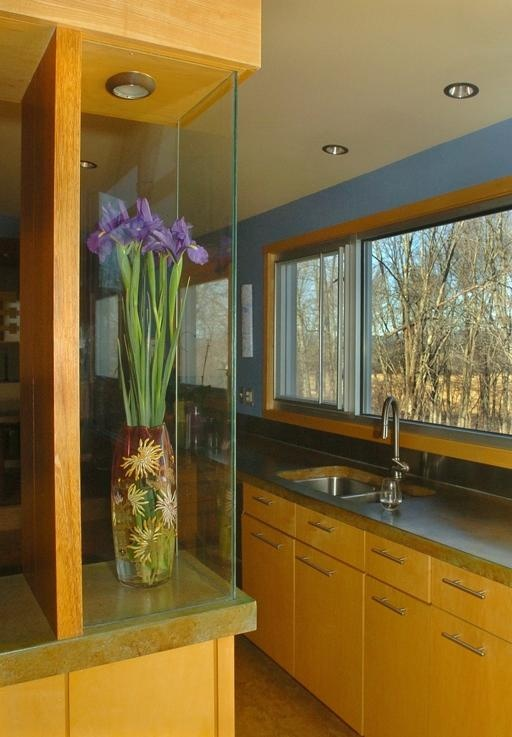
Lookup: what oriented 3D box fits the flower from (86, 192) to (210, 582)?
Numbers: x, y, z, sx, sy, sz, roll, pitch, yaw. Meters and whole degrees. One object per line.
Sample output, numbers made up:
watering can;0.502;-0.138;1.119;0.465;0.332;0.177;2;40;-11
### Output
flower;-0.189;0.040;0.899;0.197;0.581;0.045;7;-2;-38
